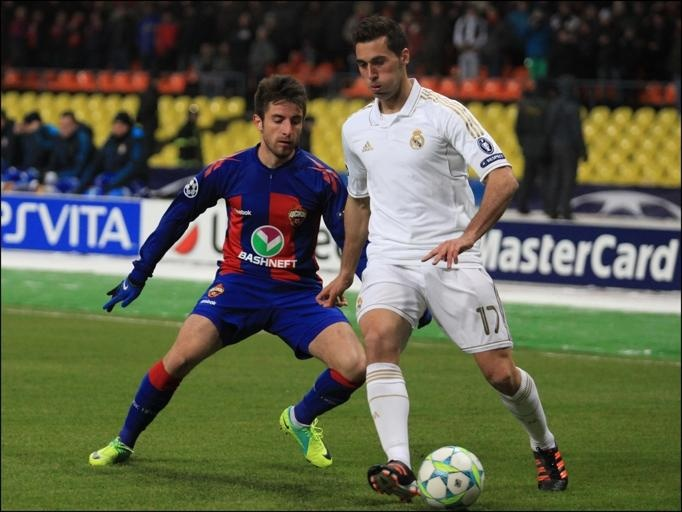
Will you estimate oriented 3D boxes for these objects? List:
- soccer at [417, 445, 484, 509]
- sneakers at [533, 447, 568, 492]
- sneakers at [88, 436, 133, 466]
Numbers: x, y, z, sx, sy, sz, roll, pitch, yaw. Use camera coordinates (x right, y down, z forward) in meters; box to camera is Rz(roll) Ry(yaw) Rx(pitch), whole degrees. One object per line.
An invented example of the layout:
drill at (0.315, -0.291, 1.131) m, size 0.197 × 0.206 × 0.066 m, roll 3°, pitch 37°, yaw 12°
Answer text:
soccer at (0.639, 1.294, 5.304) m, size 0.371 × 0.348 × 0.196 m, roll 2°, pitch 10°, yaw 4°
sneakers at (1.368, 1.335, 5.643) m, size 0.141 × 0.272 × 0.274 m, roll 12°, pitch -16°, yaw -27°
sneakers at (-1.474, 1.239, 5.831) m, size 0.245 × 0.127 × 0.152 m, roll -8°, pitch 35°, yaw -30°
